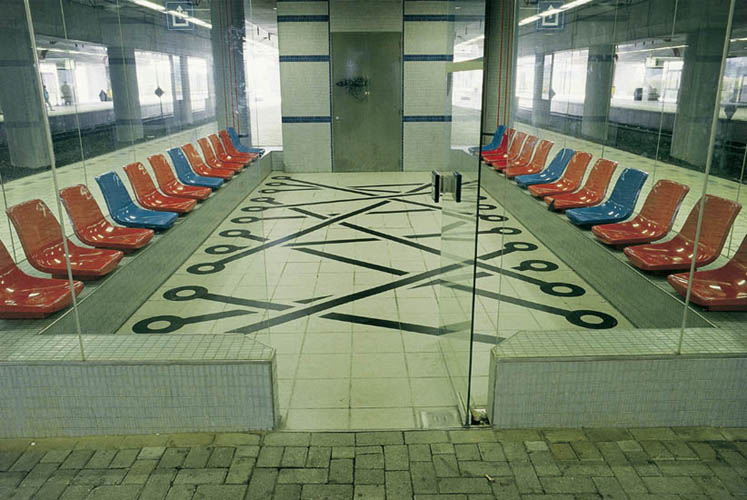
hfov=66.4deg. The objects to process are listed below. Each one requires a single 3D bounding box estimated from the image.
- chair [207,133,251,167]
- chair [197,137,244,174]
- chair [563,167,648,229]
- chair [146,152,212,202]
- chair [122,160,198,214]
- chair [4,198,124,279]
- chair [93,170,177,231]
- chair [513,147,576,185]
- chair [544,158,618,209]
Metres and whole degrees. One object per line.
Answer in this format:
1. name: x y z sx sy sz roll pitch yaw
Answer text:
1. chair: -2.371 -1.602 9.188 0.758 0.364 0.435 5 24 9
2. chair: -2.234 -1.448 8.724 0.778 0.389 0.396 11 26 -1
3. chair: 2.508 -0.556 5.997 0.936 0.459 0.512 -12 20 0
4. chair: -2.437 -0.884 7.011 0.808 0.432 0.423 15 24 -8
5. chair: -2.451 -0.700 6.414 0.822 0.410 0.450 13 22 -4
6. chair: -2.473 -0.076 4.538 0.930 0.468 0.491 18 21 -7
7. chair: -2.477 -0.501 5.839 0.824 0.452 0.455 15 23 -8
8. chair: 2.270 -1.018 7.419 0.529 0.624 0.423 27 5 -22
9. chair: 2.428 -0.755 6.488 0.888 0.433 0.502 -11 17 0
